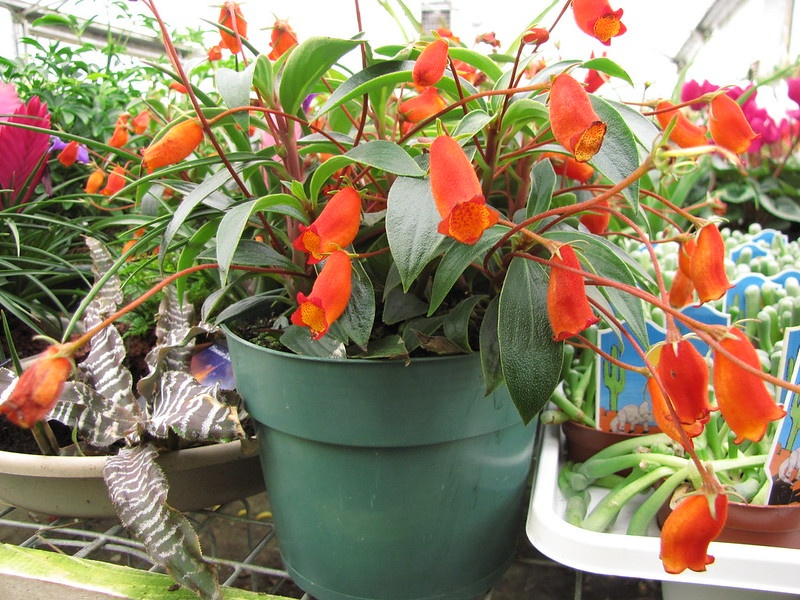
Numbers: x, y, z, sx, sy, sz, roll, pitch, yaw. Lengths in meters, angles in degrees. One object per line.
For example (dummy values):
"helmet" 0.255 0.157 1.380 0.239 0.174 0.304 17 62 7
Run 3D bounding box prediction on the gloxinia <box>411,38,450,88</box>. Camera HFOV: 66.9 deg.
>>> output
"gloxinia" 0.041 -0.291 0.742 0.028 0.065 0.037 24 -9 28

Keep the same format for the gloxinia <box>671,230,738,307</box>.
"gloxinia" 0.361 -0.051 0.732 0.079 0.096 0.063 -14 14 -38

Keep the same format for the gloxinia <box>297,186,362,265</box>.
"gloxinia" -0.077 -0.094 0.784 0.060 0.103 0.039 33 -15 23

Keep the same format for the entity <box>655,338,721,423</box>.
"entity" 0.327 0.096 0.702 0.046 0.089 0.050 4 -20 -12

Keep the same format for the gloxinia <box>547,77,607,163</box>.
"gloxinia" 0.186 -0.190 0.689 0.056 0.100 0.041 -32 16 -18

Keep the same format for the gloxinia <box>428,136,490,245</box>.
"gloxinia" 0.068 -0.124 0.673 0.075 0.120 0.063 3 2 12

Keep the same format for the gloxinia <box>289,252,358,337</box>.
"gloxinia" -0.081 -0.007 0.754 0.089 0.110 0.075 1 3 -43

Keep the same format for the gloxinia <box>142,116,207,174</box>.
"gloxinia" -0.294 -0.199 0.766 0.102 0.057 0.035 -21 10 -43

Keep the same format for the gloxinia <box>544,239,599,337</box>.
"gloxinia" 0.190 -0.016 0.709 0.064 0.107 0.054 -10 12 -4

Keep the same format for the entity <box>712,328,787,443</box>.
"entity" 0.385 0.103 0.684 0.121 0.102 0.070 1 2 -44
